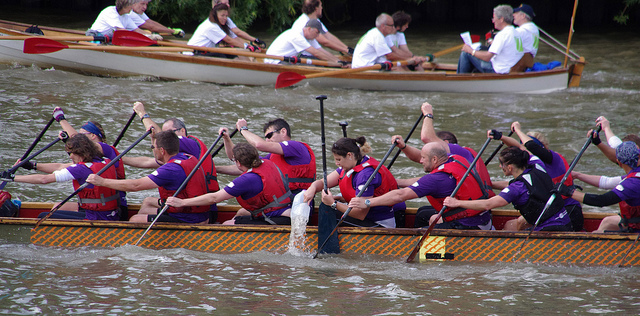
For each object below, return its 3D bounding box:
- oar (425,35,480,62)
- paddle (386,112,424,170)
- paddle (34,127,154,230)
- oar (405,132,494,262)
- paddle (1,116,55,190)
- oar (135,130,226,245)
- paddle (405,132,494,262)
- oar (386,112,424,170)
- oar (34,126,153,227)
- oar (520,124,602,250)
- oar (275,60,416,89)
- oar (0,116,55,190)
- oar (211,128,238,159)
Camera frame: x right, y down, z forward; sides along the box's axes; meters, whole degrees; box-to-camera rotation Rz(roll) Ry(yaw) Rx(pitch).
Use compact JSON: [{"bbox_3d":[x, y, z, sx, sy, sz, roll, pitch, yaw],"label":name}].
[{"bbox_3d":[3.905,-3.316,22.570,1.744,0.384,0.909,-24,39,-11],"label":"oar"},{"bbox_3d":[2.157,-0.369,18.667,0.083,2.040,0.143,39,5,-28],"label":"paddle"},{"bbox_3d":[-5.256,0.550,16.673,0.131,4.011,0.393,60,-8,-14],"label":"paddle"},{"bbox_3d":[2.822,0.957,16.038,0.248,3.528,0.294,38,0,9],"label":"oar"},{"bbox_3d":[-7.248,-0.061,17.915,0.272,2.448,0.239,25,-26,44],"label":"paddle"},{"bbox_3d":[-3.168,0.749,16.290,0.367,3.460,0.127,24,-26,44],"label":"oar"},{"bbox_3d":[2.821,0.962,16.033,0.264,3.491,0.295,37,-4,17],"label":"paddle"},{"bbox_3d":[2.160,-0.375,18.665,0.200,1.966,0.221,36,12,-22],"label":"oar"},{"bbox_3d":[-5.267,0.507,16.714,4.092,0.165,0.275,-32,22,-12],"label":"oar"},{"bbox_3d":[5.414,0.758,16.369,0.434,3.678,0.165,21,-29,32],"label":"oar"},{"bbox_3d":[0.469,-2.392,20.434,4.187,0.876,0.782,-2,14,-34],"label":"oar"},{"bbox_3d":[-7.252,-0.058,17.916,0.292,2.622,0.210,40,-22,19],"label":"oar"},{"bbox_3d":[-2.370,-0.335,17.771,0.169,1.465,0.199,30,40,-31],"label":"oar"}]
